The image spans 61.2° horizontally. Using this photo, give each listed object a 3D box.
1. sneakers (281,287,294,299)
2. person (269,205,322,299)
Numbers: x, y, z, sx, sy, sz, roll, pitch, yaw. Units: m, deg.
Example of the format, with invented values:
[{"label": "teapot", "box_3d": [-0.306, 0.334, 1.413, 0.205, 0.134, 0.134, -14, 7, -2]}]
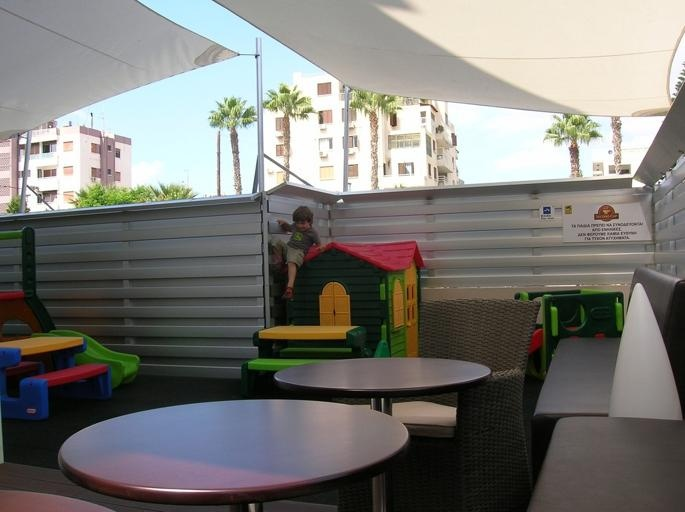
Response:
[{"label": "sneakers", "box_3d": [-0.608, 0.424, 6.416, 0.110, 0.056, 0.146, -2, -16, 5]}, {"label": "person", "box_3d": [-0.564, -0.039, 6.618, 0.514, 1.029, 0.593, 0, 2, 24]}]
